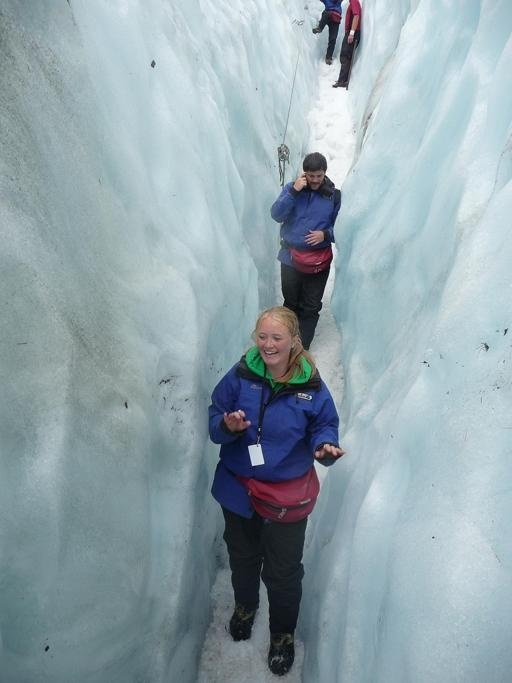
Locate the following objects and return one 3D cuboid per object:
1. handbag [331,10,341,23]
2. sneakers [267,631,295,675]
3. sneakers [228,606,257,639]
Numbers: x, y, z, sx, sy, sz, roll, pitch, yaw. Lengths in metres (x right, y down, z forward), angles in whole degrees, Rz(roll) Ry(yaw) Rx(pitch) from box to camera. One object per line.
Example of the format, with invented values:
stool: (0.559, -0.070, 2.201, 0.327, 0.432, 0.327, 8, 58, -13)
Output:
handbag: (0.700, -2.834, 6.108, 0.068, 0.099, 0.090, -30, 14, 9)
sneakers: (0.083, 1.076, 2.402, 0.069, 0.102, 0.153, 1, 47, 5)
sneakers: (-0.053, 1.017, 2.507, 0.050, 0.173, 0.075, 4, 49, 9)
